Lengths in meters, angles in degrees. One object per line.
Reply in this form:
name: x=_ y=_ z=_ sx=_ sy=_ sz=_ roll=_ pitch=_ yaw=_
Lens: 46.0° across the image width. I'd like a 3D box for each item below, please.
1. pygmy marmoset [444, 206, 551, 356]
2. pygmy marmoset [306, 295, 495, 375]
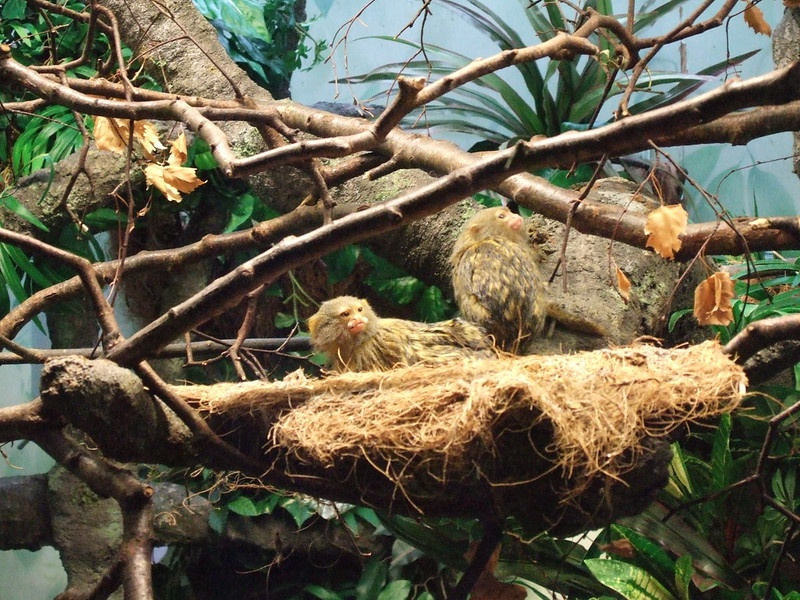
pygmy marmoset: x=0.372 y=-0.064 z=3.430 sx=0.293 sy=0.284 sz=0.492 roll=36 pitch=22 yaw=-53
pygmy marmoset: x=-0.022 y=0.141 z=3.310 sx=0.527 sy=0.275 sz=0.289 roll=-1 pitch=-6 yaw=18
